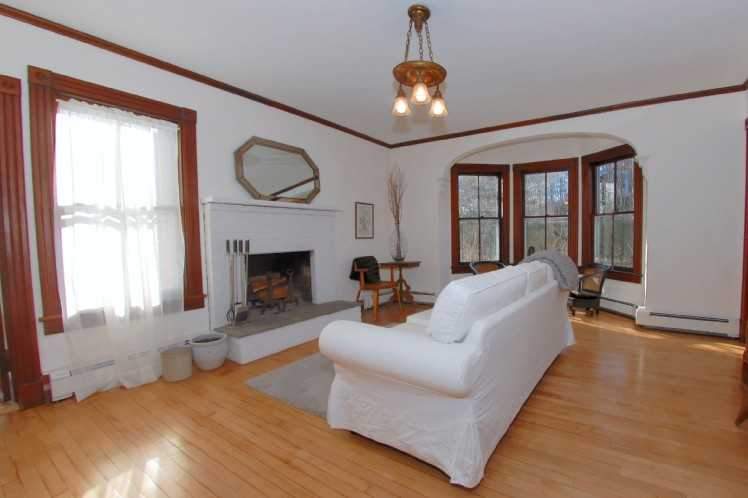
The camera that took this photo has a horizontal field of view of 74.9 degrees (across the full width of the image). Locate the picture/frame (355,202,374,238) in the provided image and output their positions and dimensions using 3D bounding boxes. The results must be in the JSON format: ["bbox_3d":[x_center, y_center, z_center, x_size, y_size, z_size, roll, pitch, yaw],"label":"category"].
[{"bbox_3d":[-0.161,-0.460,7.674,0.044,0.626,0.583,-4,-6,33],"label":"picture/frame"}]

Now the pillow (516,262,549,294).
[{"bbox_3d":[1.588,0.267,4.970,0.399,0.267,0.280,-5,5,-44],"label":"pillow"}]

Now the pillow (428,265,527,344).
[{"bbox_3d":[0.922,0.472,4.277,1.063,0.538,0.321,-4,4,-43],"label":"pillow"}]

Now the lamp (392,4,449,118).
[{"bbox_3d":[0.490,-1.823,5.176,0.601,1.023,1.430,-2,3,7],"label":"lamp"}]

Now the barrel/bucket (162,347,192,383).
[{"bbox_3d":[-2.093,1.218,5.258,0.330,0.334,0.312,-1,4,0],"label":"barrel/bucket"}]

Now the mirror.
[{"bbox_3d":[-1.287,-1.022,6.298,0.038,0.644,1.091,-9,-7,38],"label":"mirror"}]

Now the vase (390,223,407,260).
[{"bbox_3d":[0.392,-0.107,7.746,0.250,0.577,0.176,-2,4,3],"label":"vase"}]
